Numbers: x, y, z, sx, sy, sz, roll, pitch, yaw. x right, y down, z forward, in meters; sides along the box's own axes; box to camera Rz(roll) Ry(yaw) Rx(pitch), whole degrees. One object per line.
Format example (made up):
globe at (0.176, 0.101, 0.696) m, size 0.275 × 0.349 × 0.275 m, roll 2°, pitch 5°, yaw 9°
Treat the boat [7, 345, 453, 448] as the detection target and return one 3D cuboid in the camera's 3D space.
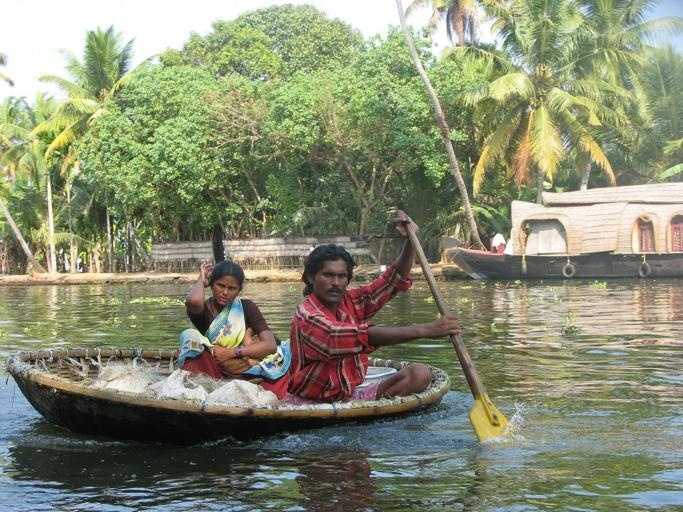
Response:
boat at (-1.215, 1.335, 7.933) m, size 2.609 × 0.413 × 1.650 m, roll 2°, pitch -3°, yaw -8°
